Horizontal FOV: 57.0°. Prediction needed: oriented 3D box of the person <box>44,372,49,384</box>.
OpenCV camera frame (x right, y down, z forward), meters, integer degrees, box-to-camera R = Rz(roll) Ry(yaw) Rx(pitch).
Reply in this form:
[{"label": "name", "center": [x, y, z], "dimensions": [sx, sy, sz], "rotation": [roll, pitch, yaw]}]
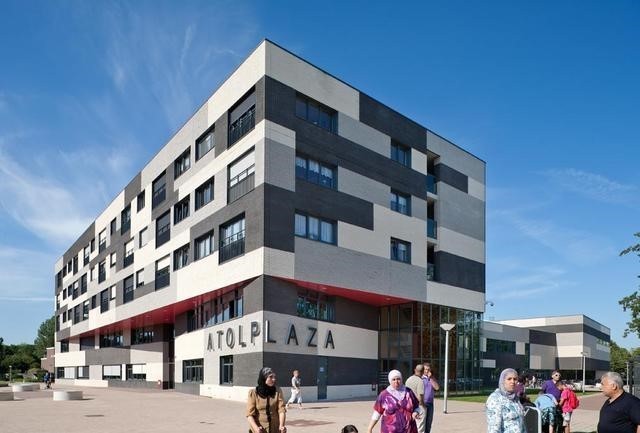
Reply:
[{"label": "person", "center": [-27.993, 16.586, 60.260], "dimensions": [0.431, 1.095, 1.488], "rotation": [3, 11, -28]}]
